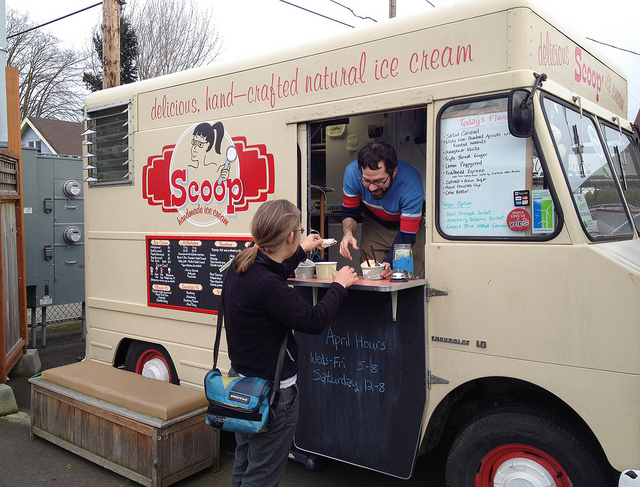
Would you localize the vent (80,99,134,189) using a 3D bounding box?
[{"bbox_3d":[-2.453,-1.122,5.551,0.926,0.967,0.172,1,2,39],"label":"vent"}]

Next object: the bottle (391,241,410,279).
[{"bbox_3d":[0.665,0.145,3.781,0.139,0.283,0.144,3,-4,0],"label":"bottle"}]

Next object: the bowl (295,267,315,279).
[{"bbox_3d":[-0.132,0.227,3.811,0.089,0.066,0.102,-1,2,8],"label":"bowl"}]

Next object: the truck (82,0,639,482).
[{"bbox_3d":[0.331,-0.067,5.469,5.430,3.917,3.334,1,2,37],"label":"truck"}]

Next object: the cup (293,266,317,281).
[{"bbox_3d":[-0.125,0.227,3.836,0.107,0.069,0.117,-2,1,0],"label":"cup"}]

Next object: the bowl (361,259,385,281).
[{"bbox_3d":[0.402,0.207,3.752,0.123,0.135,0.157,0,-6,8],"label":"bowl"}]

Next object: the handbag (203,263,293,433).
[{"bbox_3d":[-0.461,0.662,3.117,0.609,1.040,0.351,0,1,8],"label":"handbag"}]

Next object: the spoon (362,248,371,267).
[{"bbox_3d":[0.368,0.118,3.883,0.016,0.167,0.018,-33,-18,26],"label":"spoon"}]
